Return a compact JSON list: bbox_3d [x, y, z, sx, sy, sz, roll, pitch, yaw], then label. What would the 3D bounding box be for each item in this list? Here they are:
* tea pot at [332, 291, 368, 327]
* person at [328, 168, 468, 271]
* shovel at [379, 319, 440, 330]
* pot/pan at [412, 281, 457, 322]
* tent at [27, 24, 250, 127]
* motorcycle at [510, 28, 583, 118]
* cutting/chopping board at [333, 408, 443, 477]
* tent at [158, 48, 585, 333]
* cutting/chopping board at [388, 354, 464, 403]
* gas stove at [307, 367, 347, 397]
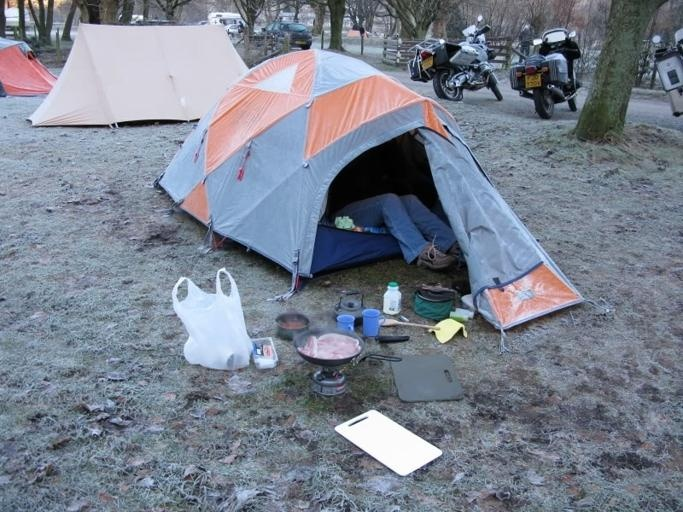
[{"bbox_3d":[0.075,0.439,4.435,0.266,0.265,0.266,2,13,-1],"label":"tea pot"},{"bbox_3d":[0.610,-0.253,5.373,1.261,0.787,1.100,2,28,-26],"label":"person"},{"bbox_3d":[0.539,0.563,4.270,0.572,0.047,0.154,0,12,9],"label":"shovel"},{"bbox_3d":[0.837,0.371,4.508,0.344,0.225,0.421,11,30,24],"label":"pot/pan"},{"bbox_3d":[-4.206,-4.094,10.957,4.766,1.724,3.351,-15,38,-28],"label":"tent"},{"bbox_3d":[4.143,-3.576,10.074,0.990,1.574,2.763,2,34,37],"label":"motorcycle"},{"bbox_3d":[0.286,1.153,3.159,0.604,0.052,0.301,20,35,36],"label":"cutting/chopping board"},{"bbox_3d":[0.012,-0.791,5.050,2.761,1.468,3.831,-22,40,-38],"label":"tent"},{"bbox_3d":[0.609,0.875,3.704,0.460,0.029,0.494,-3,27,-4],"label":"cutting/chopping board"},{"bbox_3d":[-0.095,0.859,3.591,0.259,0.160,0.206,0,27,4],"label":"gas stove"}]
